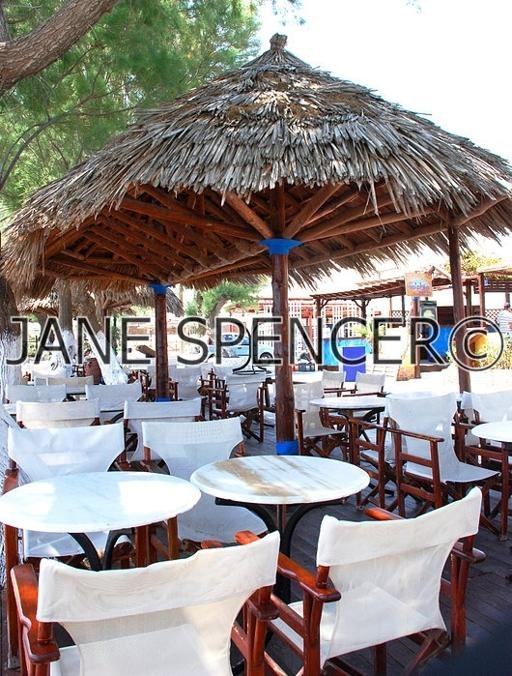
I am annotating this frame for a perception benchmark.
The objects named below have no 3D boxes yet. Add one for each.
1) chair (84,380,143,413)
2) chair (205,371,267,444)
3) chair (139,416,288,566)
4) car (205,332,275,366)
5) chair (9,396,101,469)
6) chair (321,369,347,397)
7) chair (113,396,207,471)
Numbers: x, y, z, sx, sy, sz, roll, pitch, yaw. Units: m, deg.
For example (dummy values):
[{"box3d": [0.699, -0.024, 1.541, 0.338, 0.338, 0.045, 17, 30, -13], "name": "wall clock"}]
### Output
[{"box3d": [-1.351, 0.528, 5.003, 0.482, 0.452, 0.376, 2, -18, -20], "name": "chair"}, {"box3d": [-0.252, 0.818, 6.411, 0.787, 1.061, 0.744, 0, 1, -29], "name": "chair"}, {"box3d": [-0.284, 0.671, 2.642, 0.681, 0.893, 0.667, 2, -12, -17], "name": "chair"}, {"box3d": [-0.595, 0.467, 23.426, 2.202, 1.059, 1.277, -3, 0, -1], "name": "car"}, {"box3d": [-1.268, 0.567, 3.325, 0.291, 0.450, 0.305, 0, 0, -16], "name": "chair"}, {"box3d": [0.884, 0.525, 6.240, 0.297, 0.425, 0.314, 0, 2, 10], "name": "chair"}, {"box3d": [-0.686, 0.597, 3.612, 0.464, 0.602, 0.471, 0, 0, -21], "name": "chair"}]
